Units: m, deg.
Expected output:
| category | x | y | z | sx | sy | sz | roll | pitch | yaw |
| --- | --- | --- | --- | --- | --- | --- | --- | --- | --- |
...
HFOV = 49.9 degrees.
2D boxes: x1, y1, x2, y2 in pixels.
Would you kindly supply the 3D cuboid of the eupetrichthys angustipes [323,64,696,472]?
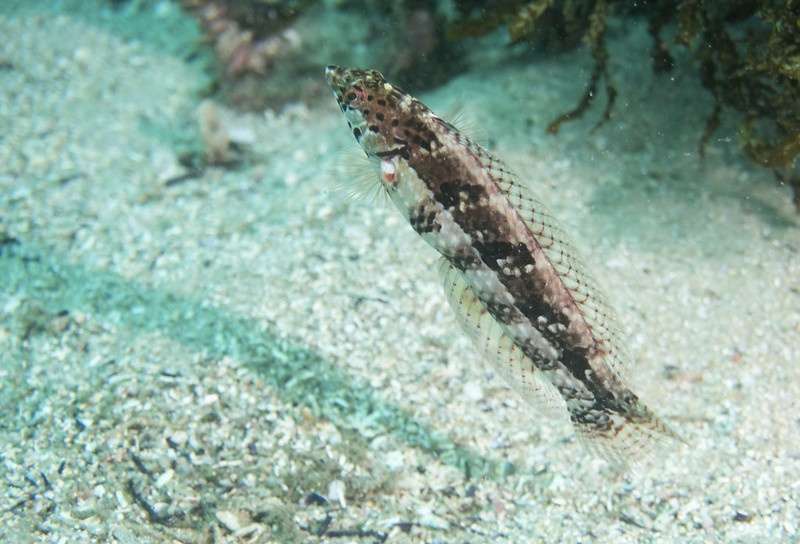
| category | x | y | z | sx | sy | sz | roll | pitch | yaw |
| --- | --- | --- | --- | --- | --- | --- | --- | --- | --- |
| eupetrichthys angustipes | 0.619 | -0.261 | 6.917 | 1.003 | 1.564 | 3.973 | -27 | 70 | -35 |
